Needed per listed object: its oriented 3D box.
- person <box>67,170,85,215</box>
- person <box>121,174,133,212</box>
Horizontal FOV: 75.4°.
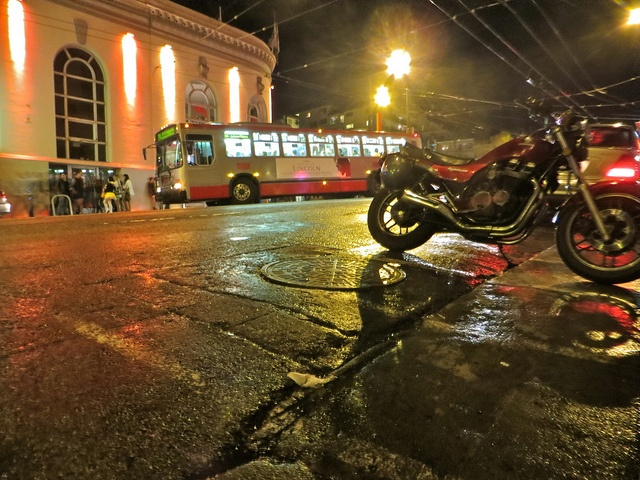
[{"bbox_3d":[-11.035,-2.105,18.694,0.500,1.723,0.841,-6,15,-23],"label":"person"},{"bbox_3d":[-9.283,-2.270,19.738,0.453,1.675,1.096,-7,15,-24],"label":"person"}]
